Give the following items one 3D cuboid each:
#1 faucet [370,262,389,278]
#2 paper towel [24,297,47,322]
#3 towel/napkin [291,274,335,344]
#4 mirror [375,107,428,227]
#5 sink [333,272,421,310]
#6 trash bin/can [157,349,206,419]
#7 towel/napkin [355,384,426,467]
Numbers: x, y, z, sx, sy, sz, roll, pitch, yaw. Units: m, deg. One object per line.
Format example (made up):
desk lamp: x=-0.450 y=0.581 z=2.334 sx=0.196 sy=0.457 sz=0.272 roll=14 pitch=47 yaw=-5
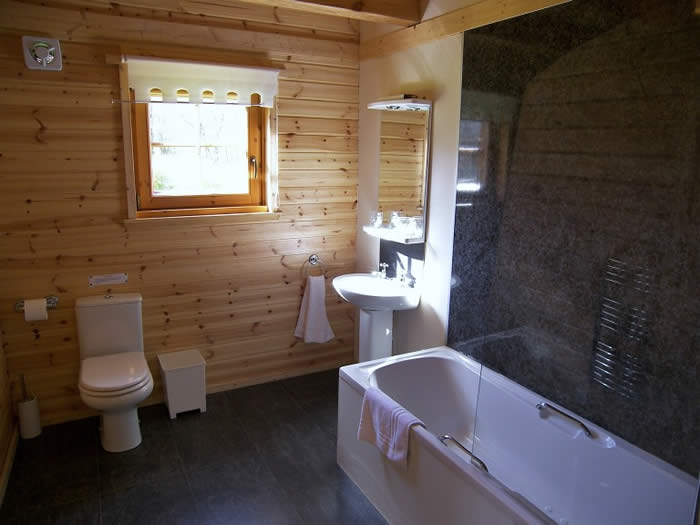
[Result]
faucet: x=0.209 y=0.057 z=4.247 sx=0.155 sy=0.158 sz=0.091 roll=-4 pitch=11 yaw=-32
paper towel: x=-2.256 y=0.329 z=3.608 sx=0.157 sy=0.173 sz=0.019 roll=-6 pitch=15 yaw=-35
towel/napkin: x=-0.337 y=0.413 z=4.455 sx=0.338 sy=0.589 sz=0.133 roll=-5 pitch=13 yaw=-14
mirror: x=0.370 y=-0.720 z=4.020 sx=0.471 sy=0.743 sz=0.212 roll=-5 pitch=11 yaw=-28
sink: x=0.168 y=0.247 z=4.128 sx=0.527 sy=0.192 sz=0.797 roll=-6 pitch=14 yaw=-17
trash bin/can: x=-1.317 y=0.942 z=3.984 sx=0.296 sy=0.439 sz=0.265 roll=-9 pitch=14 yaw=-29
towel/napkin: x=0.234 y=0.935 z=2.957 sx=0.198 sy=0.309 sz=0.450 roll=-8 pitch=14 yaw=-34
